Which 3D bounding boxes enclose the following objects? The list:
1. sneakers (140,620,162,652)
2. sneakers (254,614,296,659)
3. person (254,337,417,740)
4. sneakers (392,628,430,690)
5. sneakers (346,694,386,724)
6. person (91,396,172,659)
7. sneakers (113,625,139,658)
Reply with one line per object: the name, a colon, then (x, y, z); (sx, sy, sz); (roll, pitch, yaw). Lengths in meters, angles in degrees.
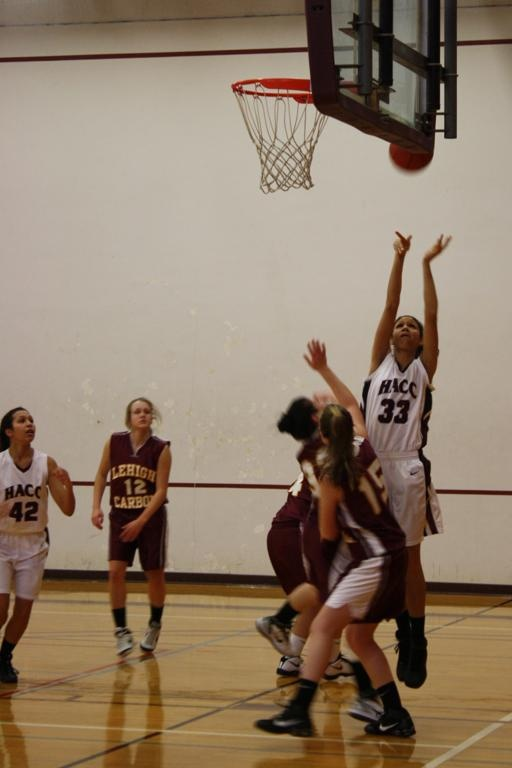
sneakers: (-0.582, 1.396, 4.250); (0.080, 0.136, 0.221); (12, 22, -4)
sneakers: (0.090, 1.121, 3.420); (0.117, 0.258, 0.091); (-31, 8, -1)
person: (0.273, 0.474, 2.462); (0.476, 1.427, 0.869); (-1, -9, 8)
sneakers: (0.665, 1.186, 3.256); (0.115, 0.144, 0.342); (-1, -14, 7)
sneakers: (0.392, 1.150, 2.659); (0.144, 0.139, 0.064); (-1, -24, 19)
person: (-0.714, 0.793, 4.331); (0.445, 1.436, 0.536); (2, -9, -11)
sneakers: (-0.717, 1.406, 4.103); (0.104, 0.153, 0.231); (2, -9, -9)
